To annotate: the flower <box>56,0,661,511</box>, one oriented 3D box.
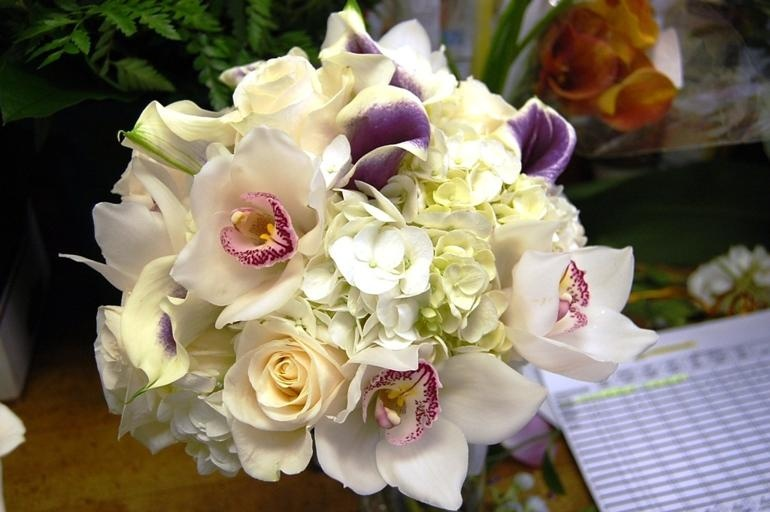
[{"bbox_3d":[-0.005,0.024,0.913,0.561,0.562,0.558,-3,87,7],"label":"flower"}]
